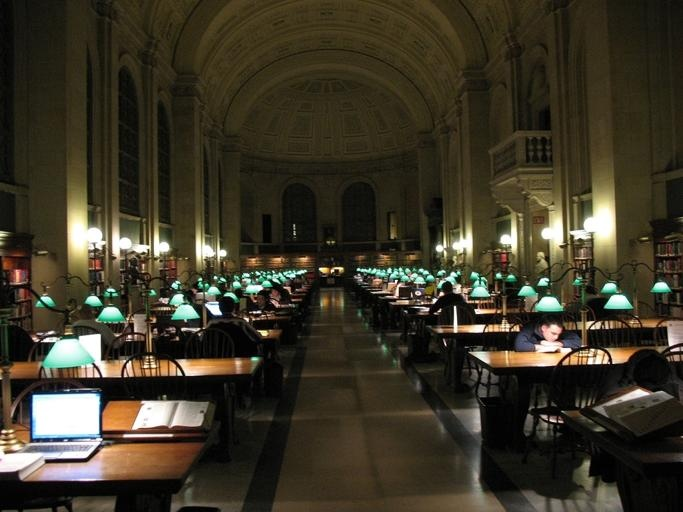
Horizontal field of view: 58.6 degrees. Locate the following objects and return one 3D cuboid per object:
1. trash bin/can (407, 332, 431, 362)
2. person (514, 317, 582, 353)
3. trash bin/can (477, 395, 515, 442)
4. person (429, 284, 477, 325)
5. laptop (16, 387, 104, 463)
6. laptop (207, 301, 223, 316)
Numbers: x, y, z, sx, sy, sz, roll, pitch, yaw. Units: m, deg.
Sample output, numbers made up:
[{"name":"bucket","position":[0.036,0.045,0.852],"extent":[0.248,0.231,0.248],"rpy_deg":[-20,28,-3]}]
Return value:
[{"name":"trash bin/can","position":[1.604,1.919,12.871],"extent":[0.515,0.735,0.515],"rpy_deg":[0,0,1]},{"name":"person","position":[2.793,1.074,8.504],"extent":[0.966,0.388,0.767],"rpy_deg":[-4,11,-40]},{"name":"trash bin/can","position":[1.948,2.094,7.962],"extent":[0.662,0.560,0.454],"rpy_deg":[0,2,4]},{"name":"person","position":[2.347,1.033,12.817],"extent":[0.761,1.375,0.457],"rpy_deg":[-2,15,8]},{"name":"laptop","position":[-2.526,1.519,5.547],"extent":[0.723,0.551,0.575],"rpy_deg":[1,-1,-4]},{"name":"laptop","position":[-2.419,1.005,11.638],"extent":[0.338,0.119,0.497],"rpy_deg":[1,7,-6]}]
